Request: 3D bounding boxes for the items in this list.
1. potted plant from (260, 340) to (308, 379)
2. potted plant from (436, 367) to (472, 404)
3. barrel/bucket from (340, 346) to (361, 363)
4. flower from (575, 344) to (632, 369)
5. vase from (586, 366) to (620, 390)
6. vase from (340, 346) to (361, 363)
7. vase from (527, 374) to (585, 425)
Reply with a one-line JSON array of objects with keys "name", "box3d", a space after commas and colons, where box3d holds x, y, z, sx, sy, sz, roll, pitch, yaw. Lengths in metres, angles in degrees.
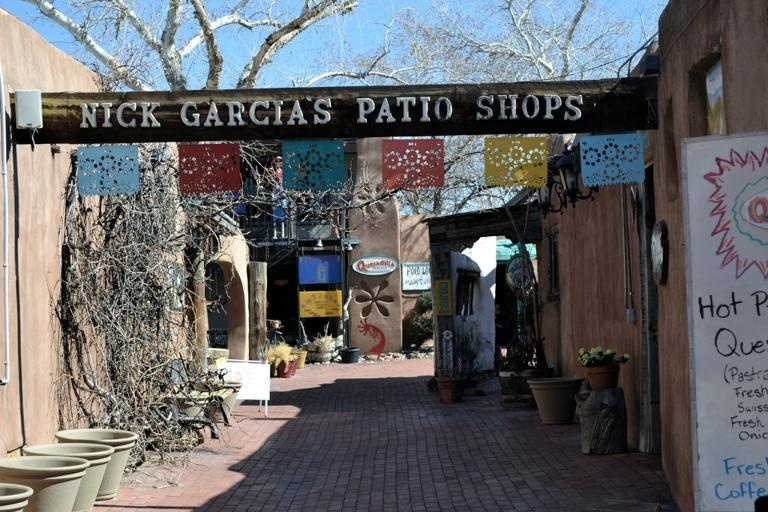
[{"name": "potted plant", "box3d": [-2.582, 2.603, 19.485, 1.075, 0.816, 1.102, 3, -9, -16]}, {"name": "potted plant", "box3d": [1.225, 2.399, 14.244, 0.605, 0.478, 0.595, 0, -4, -44]}, {"name": "barrel/bucket", "box3d": [-1.020, 2.827, 22.489, 0.428, 0.327, 0.449, -2, 1, 0]}, {"name": "flower", "box3d": [2.805, 1.265, 9.782, 0.636, 0.195, 0.317, -2, 0, 4]}, {"name": "vase", "box3d": [2.750, 1.504, 9.704, 0.336, 0.229, 0.285, -2, 0, 38]}, {"name": "vase", "box3d": [-1.015, 2.829, 22.483, 0.425, 0.314, 0.444, -1, 1, -2]}, {"name": "vase", "box3d": [2.485, 2.059, 11.183, 0.684, 0.551, 0.722, -1, -10, 2]}]
